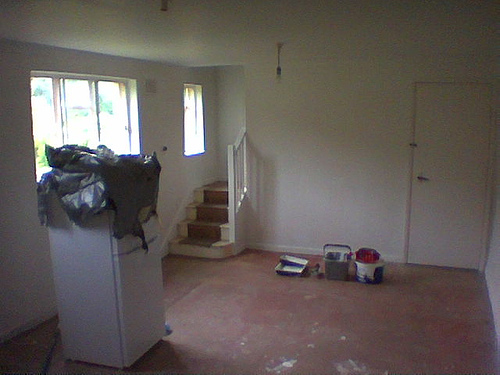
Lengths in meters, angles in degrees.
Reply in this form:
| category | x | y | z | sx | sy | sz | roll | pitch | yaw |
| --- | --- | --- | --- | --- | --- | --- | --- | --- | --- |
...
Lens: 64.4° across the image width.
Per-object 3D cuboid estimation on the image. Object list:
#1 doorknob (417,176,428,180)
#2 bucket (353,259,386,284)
| category | x | y | z | sx | sy | sz | roll | pitch | yaw |
| --- | --- | --- | --- | --- | --- | --- | --- | --- | --- |
| doorknob | 2.290 | -0.127 | 5.257 | 0.125 | 0.037 | 0.030 | 17 | 39 | 27 |
| bucket | 1.501 | 1.035 | 5.014 | 0.419 | 0.309 | 0.348 | 3 | 0 | 29 |
